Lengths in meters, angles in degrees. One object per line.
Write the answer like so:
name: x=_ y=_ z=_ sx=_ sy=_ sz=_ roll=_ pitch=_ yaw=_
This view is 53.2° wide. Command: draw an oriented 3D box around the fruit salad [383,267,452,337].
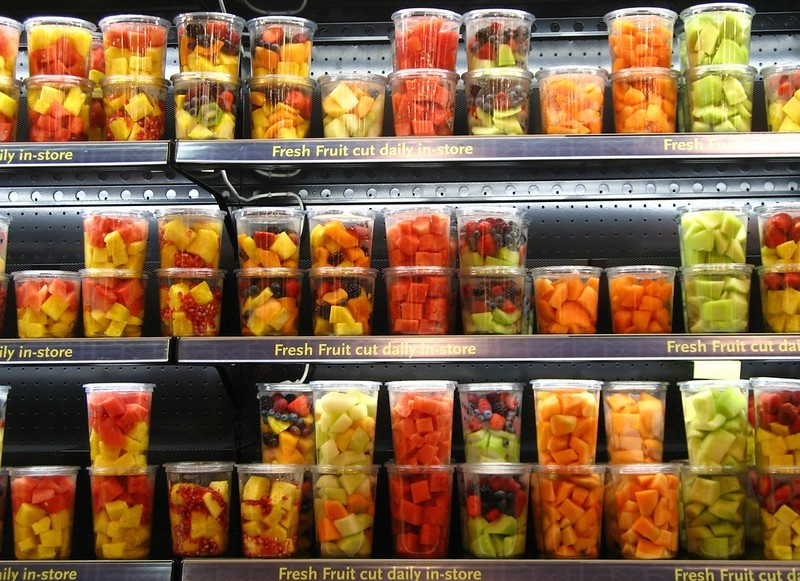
fruit salad: x=0.061 y=0.046 z=2.711 sx=0.225 sy=0.206 sz=0.215 roll=4 pitch=-6 yaw=-40

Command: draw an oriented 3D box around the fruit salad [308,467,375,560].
fruit salad: x=-0.191 y=0.736 z=2.701 sx=0.258 sy=0.322 sz=0.222 roll=0 pitch=-11 yaw=-12

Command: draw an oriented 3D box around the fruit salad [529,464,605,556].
fruit salad: x=0.558 y=0.724 z=2.660 sx=0.248 sy=0.310 sz=0.219 roll=0 pitch=14 yaw=8

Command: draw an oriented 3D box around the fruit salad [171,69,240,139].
fruit salad: x=-0.676 y=-0.633 z=2.744 sx=0.223 sy=0.183 sz=0.211 roll=-1 pitch=-1 yaw=9

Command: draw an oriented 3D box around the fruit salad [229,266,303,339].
fruit salad: x=-0.466 y=0.038 z=2.831 sx=0.249 sy=0.240 sz=0.257 roll=-1 pitch=-3 yaw=27

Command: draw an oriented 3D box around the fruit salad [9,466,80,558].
fruit salad: x=-1.237 y=0.773 z=2.765 sx=0.238 sy=0.321 sz=0.210 roll=3 pitch=-16 yaw=-27

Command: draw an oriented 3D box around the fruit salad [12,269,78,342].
fruit salad: x=-1.229 y=0.052 z=2.896 sx=0.218 sy=0.229 sz=0.227 roll=-1 pitch=-5 yaw=13

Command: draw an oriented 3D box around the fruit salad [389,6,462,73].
fruit salad: x=0.082 y=-0.875 z=2.761 sx=0.222 sy=0.177 sz=0.213 roll=0 pitch=-4 yaw=-7

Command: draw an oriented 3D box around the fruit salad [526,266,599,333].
fruit salad: x=0.548 y=0.030 z=2.718 sx=0.215 sy=0.185 sz=0.207 roll=-1 pitch=-8 yaw=6

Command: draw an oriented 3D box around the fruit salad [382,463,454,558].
fruit salad: x=0.065 y=0.742 z=2.717 sx=0.262 sy=0.336 sz=0.230 roll=0 pitch=-6 yaw=5

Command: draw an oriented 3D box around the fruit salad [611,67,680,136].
fruit salad: x=0.867 y=-0.667 z=2.847 sx=0.247 sy=0.245 sz=0.250 roll=3 pitch=11 yaw=35

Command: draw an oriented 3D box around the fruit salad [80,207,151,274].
fruit salad: x=-1.005 y=-0.183 z=2.828 sx=0.226 sy=0.263 sz=0.253 roll=2 pitch=7 yaw=-1

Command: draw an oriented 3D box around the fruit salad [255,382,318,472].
fruit salad: x=-0.365 y=0.458 z=2.707 sx=0.222 sy=0.362 sz=0.260 roll=-3 pitch=-9 yaw=17

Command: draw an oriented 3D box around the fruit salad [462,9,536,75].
fruit salad: x=0.342 y=-0.853 z=2.836 sx=0.221 sy=0.175 sz=0.218 roll=1 pitch=-3 yaw=-15

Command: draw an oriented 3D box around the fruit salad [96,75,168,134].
fruit salad: x=-0.960 y=-0.652 z=2.871 sx=0.237 sy=0.255 sz=0.230 roll=-10 pitch=22 yaw=-39

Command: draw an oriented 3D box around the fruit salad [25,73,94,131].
fruit salad: x=-1.230 y=-0.636 z=2.880 sx=0.218 sy=0.238 sz=0.229 roll=0 pitch=3 yaw=-14

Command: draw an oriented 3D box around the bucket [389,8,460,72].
bucket: x=0.087 y=-0.874 z=2.762 sx=0.219 sy=0.175 sz=0.212 roll=0 pitch=-4 yaw=0

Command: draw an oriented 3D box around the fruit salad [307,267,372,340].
fruit salad: x=-0.198 y=0.024 z=2.825 sx=0.248 sy=0.248 sz=0.271 roll=0 pitch=4 yaw=-7

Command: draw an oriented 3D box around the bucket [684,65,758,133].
bucket: x=1.091 y=-0.624 z=2.814 sx=0.231 sy=0.238 sz=0.238 roll=1 pitch=-4 yaw=0

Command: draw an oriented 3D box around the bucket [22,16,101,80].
bucket: x=-1.194 y=-0.858 z=2.899 sx=0.232 sy=0.203 sz=0.241 roll=3 pitch=5 yaw=0

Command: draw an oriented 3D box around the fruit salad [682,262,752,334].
fruit salad: x=1.098 y=0.042 z=2.782 sx=0.236 sy=0.258 sz=0.247 roll=0 pitch=-8 yaw=0

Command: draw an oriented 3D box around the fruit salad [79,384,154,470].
fruit salad: x=-0.970 y=0.488 z=2.776 sx=0.256 sy=0.311 sz=0.226 roll=-3 pitch=-15 yaw=-32

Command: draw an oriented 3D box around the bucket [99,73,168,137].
bucket: x=-0.955 y=-0.636 z=2.864 sx=0.218 sy=0.238 sz=0.210 roll=-1 pitch=3 yaw=0

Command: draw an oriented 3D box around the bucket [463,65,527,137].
bucket: x=0.337 y=-0.662 z=2.821 sx=0.223 sy=0.178 sz=0.211 roll=0 pitch=-2 yaw=0

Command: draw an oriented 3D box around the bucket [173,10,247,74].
bucket: x=-0.681 y=-0.857 z=2.854 sx=0.252 sy=0.213 sz=0.255 roll=1 pitch=2 yaw=0

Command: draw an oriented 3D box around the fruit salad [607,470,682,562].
fruit salad: x=0.793 y=0.719 z=2.617 sx=0.252 sy=0.296 sz=0.279 roll=1 pitch=-9 yaw=-3

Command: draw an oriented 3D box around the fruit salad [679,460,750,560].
fruit salad: x=1.062 y=0.731 z=2.730 sx=0.203 sy=0.355 sz=0.275 roll=-3 pitch=-2 yaw=14

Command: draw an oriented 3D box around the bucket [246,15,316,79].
bucket: x=-0.432 y=-0.872 z=2.883 sx=0.251 sy=0.217 sz=0.276 roll=5 pitch=14 yaw=2

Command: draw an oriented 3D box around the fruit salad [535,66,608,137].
fruit salad: x=0.606 y=-0.667 z=2.852 sx=0.243 sy=0.201 sz=0.235 roll=-1 pitch=-3 yaw=14

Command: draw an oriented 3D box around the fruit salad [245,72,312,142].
fruit salad: x=-0.427 y=-0.624 z=2.872 sx=0.242 sy=0.264 sz=0.256 roll=0 pitch=4 yaw=-4

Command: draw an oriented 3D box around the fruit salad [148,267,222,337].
fruit salad: x=-0.722 y=0.039 z=2.738 sx=0.200 sy=0.198 sz=0.225 roll=0 pitch=-1 yaw=11

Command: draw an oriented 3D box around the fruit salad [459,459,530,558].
fruit salad: x=0.322 y=0.738 z=2.738 sx=0.286 sy=0.328 sz=0.278 roll=6 pitch=-8 yaw=-35

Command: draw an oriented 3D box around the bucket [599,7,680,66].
bucket: x=0.825 y=-0.875 z=2.771 sx=0.212 sy=0.189 sz=0.210 roll=-1 pitch=-3 yaw=0
